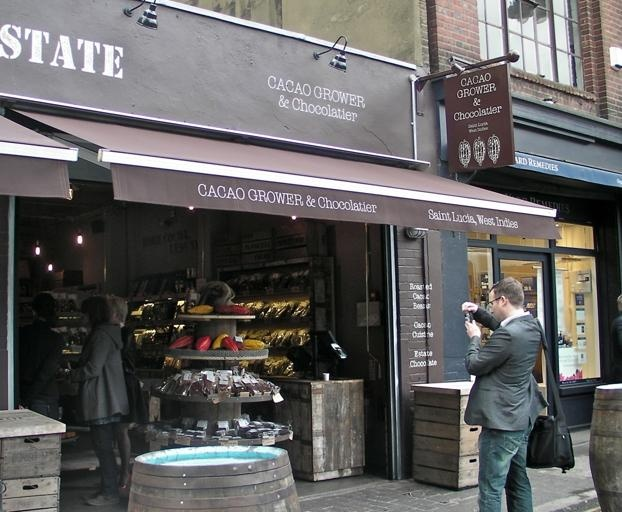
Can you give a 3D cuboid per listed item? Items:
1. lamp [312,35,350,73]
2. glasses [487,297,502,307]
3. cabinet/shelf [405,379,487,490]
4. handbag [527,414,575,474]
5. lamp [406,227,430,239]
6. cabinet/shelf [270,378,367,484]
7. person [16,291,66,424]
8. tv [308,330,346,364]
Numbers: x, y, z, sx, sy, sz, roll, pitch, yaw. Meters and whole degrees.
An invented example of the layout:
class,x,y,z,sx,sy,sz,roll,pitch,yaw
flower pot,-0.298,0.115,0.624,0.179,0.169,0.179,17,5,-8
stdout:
class,x,y,z,sx,sy,sz,roll,pitch,yaw
lamp,0.265,-2.381,7.504,0.441,0.362,0.165,29,30,18
glasses,1.466,0.383,5.186,0.098,0.030,0.095,-18,4,8
cabinet/shelf,1.655,1.971,7.177,0.968,1.009,0.994,-2,-13,27
handbag,1.870,1.443,5.126,0.285,0.356,0.371,9,-16,-21
lamp,1.289,-0.260,7.717,0.336,0.095,0.150,6,-2,-37
cabinet/shelf,0.074,2.072,7.846,0.829,1.015,1.086,4,-11,-24
person,-2.635,0.989,6.412,0.417,1.221,0.401,5,-2,-21
tv,0.237,1.102,7.917,0.468,0.285,0.549,4,-2,2
